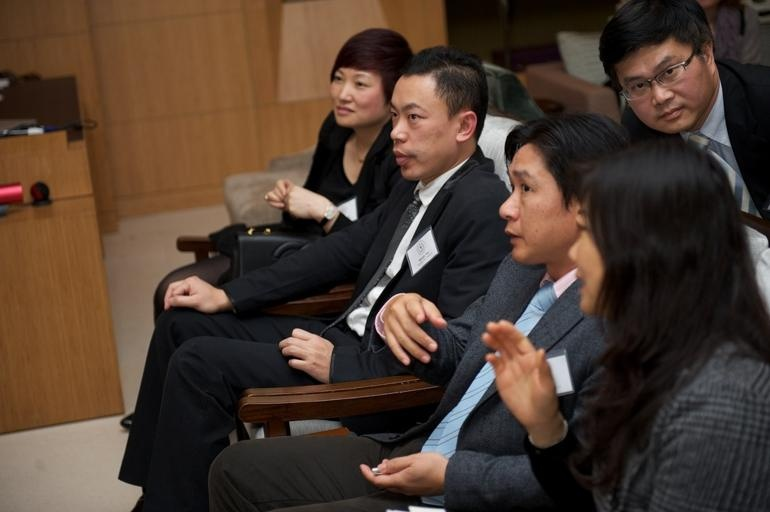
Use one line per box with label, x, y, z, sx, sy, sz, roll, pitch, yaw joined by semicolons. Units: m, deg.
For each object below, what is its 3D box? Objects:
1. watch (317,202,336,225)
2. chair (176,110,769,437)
watch;-0.258;-0.193;2.756;0.059;0.089;0.090;35;8;3
chair;-0.005;-0.196;2.217;1.580;1.350;0.961;-2;35;0
